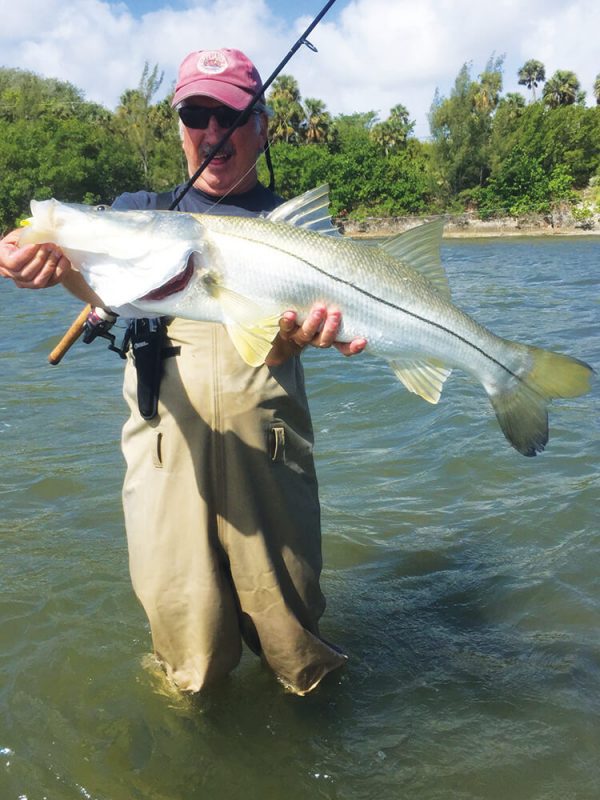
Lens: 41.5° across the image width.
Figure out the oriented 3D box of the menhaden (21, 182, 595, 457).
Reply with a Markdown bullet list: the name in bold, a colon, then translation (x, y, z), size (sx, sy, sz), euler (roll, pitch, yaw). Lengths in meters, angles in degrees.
- **menhaden**: translation (0.105, -0.200, 2.689), size (1.898, 0.935, 0.314), euler (-6, 15, -22)

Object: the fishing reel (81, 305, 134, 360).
- **fishing reel**: translation (-0.711, -0.240, 2.997), size (0.126, 0.147, 0.416), euler (-8, -10, -20)

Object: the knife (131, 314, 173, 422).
- **knife**: translation (-0.518, -0.119, 2.824), size (0.148, 0.348, 0.096), euler (3, -7, 2)
